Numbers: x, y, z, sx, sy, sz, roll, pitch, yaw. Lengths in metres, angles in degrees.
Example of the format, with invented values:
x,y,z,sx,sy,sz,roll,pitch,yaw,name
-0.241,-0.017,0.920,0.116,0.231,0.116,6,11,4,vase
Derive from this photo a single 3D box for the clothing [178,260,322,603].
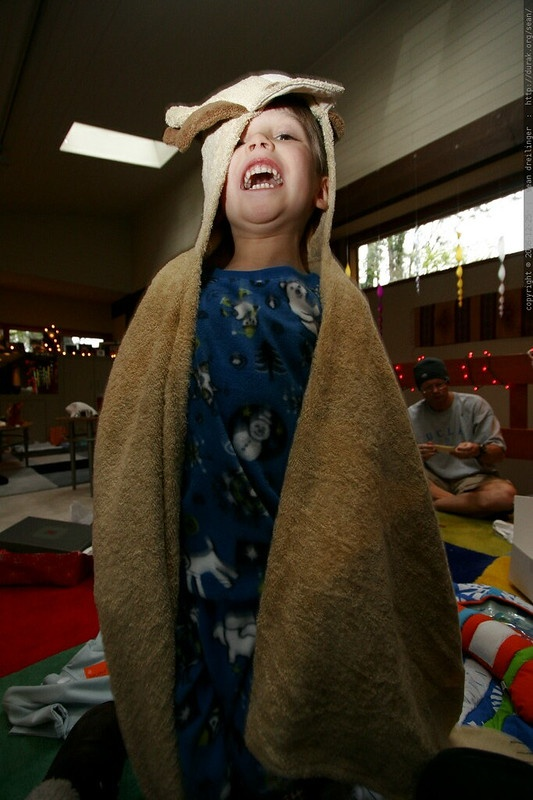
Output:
x,y,z,sx,sy,sz,roll,pitch,yaw,name
-0.007,0.044,0.707,0.167,0.404,0.110,0,3,-12,clothing

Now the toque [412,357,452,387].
x,y,z,sx,sy,sz,roll,pitch,yaw,name
0.838,-0.138,2.780,0.132,0.127,0.167,-9,-2,17,toque

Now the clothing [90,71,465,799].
x,y,z,sx,sy,sz,roll,pitch,yaw,name
0.012,0.007,0.697,0.439,0.821,0.262,-1,0,18,clothing

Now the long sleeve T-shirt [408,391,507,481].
x,y,z,sx,sy,sz,roll,pitch,yaw,name
0.970,0.208,2.940,0.536,0.442,0.305,-10,1,18,long sleeve T-shirt
